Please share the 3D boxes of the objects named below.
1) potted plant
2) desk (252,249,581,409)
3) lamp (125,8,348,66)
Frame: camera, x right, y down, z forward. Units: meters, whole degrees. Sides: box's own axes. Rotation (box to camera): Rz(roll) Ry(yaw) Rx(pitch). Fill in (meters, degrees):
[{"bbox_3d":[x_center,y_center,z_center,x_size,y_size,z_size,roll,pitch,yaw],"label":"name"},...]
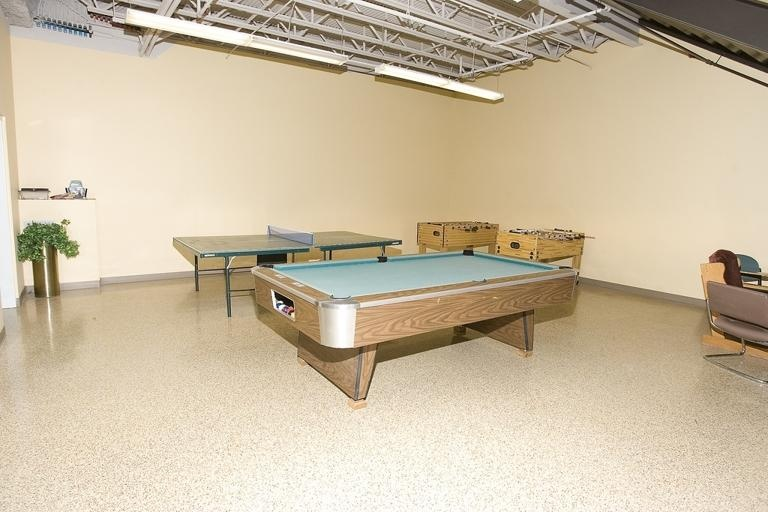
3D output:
[{"bbox_3d":[-4.845,0.007,6.901,0.932,0.973,0.751,1,-7,-15],"label":"potted plant"},{"bbox_3d":[0.345,0.653,5.209,3.080,1.116,1.481,-6,16,-29],"label":"desk"},{"bbox_3d":[-1.681,-2.512,5.490,2.259,0.287,0.392,-4,15,-23],"label":"lamp"}]
